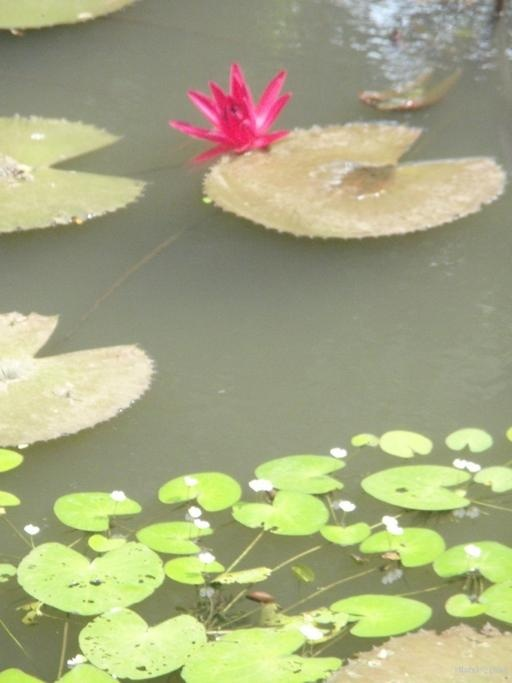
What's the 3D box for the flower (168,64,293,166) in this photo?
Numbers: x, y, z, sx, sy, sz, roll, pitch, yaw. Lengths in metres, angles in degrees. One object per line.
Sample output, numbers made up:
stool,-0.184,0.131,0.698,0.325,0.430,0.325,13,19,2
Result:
flower,-0.022,-0.320,1.226,0.179,0.145,0.086,-1,-13,22
